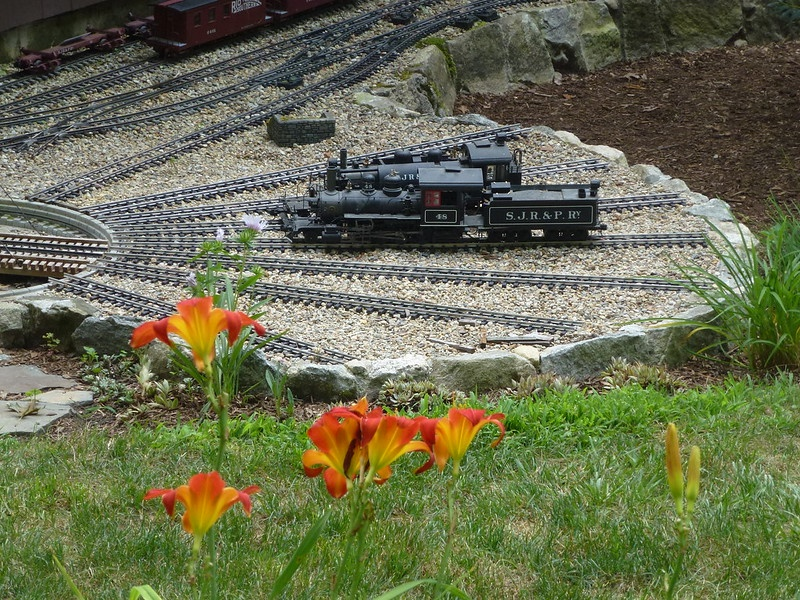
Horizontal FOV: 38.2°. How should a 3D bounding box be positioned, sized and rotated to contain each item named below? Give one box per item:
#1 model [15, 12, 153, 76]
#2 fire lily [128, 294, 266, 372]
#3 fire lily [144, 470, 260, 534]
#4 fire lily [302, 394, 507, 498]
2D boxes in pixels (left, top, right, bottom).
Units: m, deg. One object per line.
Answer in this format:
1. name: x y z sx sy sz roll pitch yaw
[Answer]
1. model: -6.796 -5.457 24.739 0.631 0.444 2.800 26 40 22
2. fire lily: -1.549 0.281 8.686 1.034 0.576 0.923 -14 -10 40
3. fire lily: -1.508 1.531 8.688 0.634 0.350 0.573 12 -27 -38
4. fire lily: -0.007 1.116 8.764 1.325 0.771 0.622 -8 31 -6
